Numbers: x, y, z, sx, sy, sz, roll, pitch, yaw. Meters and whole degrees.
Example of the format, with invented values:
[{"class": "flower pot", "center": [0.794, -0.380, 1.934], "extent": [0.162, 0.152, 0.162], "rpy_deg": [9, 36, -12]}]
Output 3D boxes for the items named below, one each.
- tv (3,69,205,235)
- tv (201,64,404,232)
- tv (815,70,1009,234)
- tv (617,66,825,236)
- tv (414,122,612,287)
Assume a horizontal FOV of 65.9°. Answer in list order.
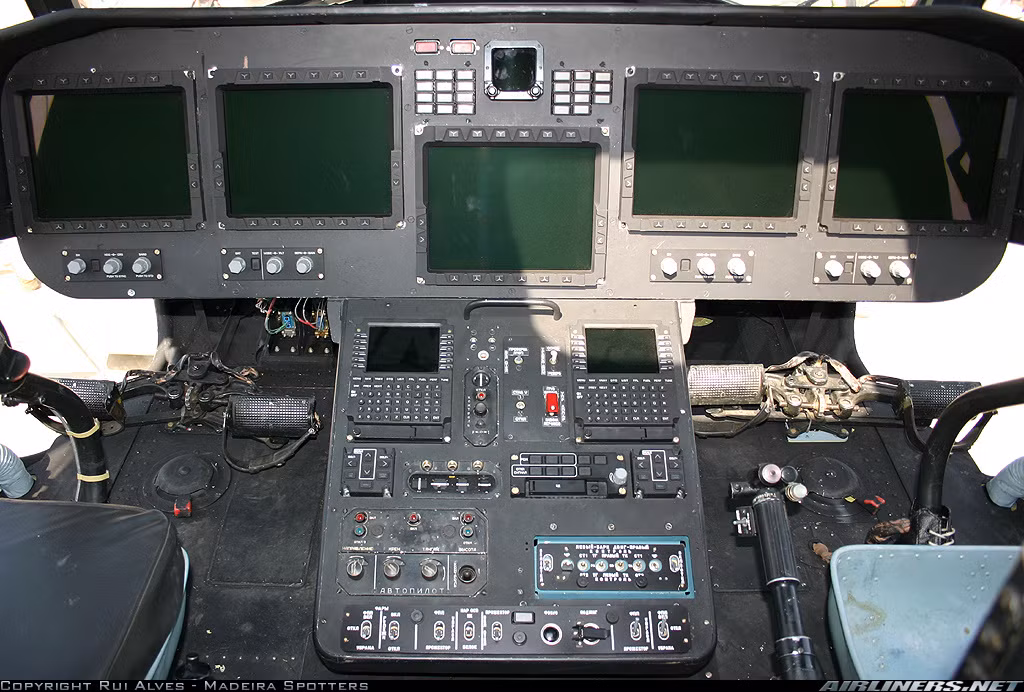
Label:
[{"class": "tv", "center": [-2.133, -1.046, 4.128], "extent": [0.808, 0.685, 0.082], "rpy_deg": [0, 9, 2]}, {"class": "tv", "center": [-1.079, -1.063, 4.104], "extent": [0.812, 0.696, 0.112], "rpy_deg": [0, 11, 0]}, {"class": "tv", "center": [2.066, -1.042, 4.113], "extent": [0.783, 0.668, 0.105], "rpy_deg": [1, 7, -1]}, {"class": "tv", "center": [1.076, -1.042, 4.090], "extent": [0.808, 0.696, 0.074], "rpy_deg": [1, 10, -3]}, {"class": "tv", "center": [0.001, -0.774, 4.130], "extent": [0.794, 0.676, 0.108], "rpy_deg": [1, 10, 0]}]
